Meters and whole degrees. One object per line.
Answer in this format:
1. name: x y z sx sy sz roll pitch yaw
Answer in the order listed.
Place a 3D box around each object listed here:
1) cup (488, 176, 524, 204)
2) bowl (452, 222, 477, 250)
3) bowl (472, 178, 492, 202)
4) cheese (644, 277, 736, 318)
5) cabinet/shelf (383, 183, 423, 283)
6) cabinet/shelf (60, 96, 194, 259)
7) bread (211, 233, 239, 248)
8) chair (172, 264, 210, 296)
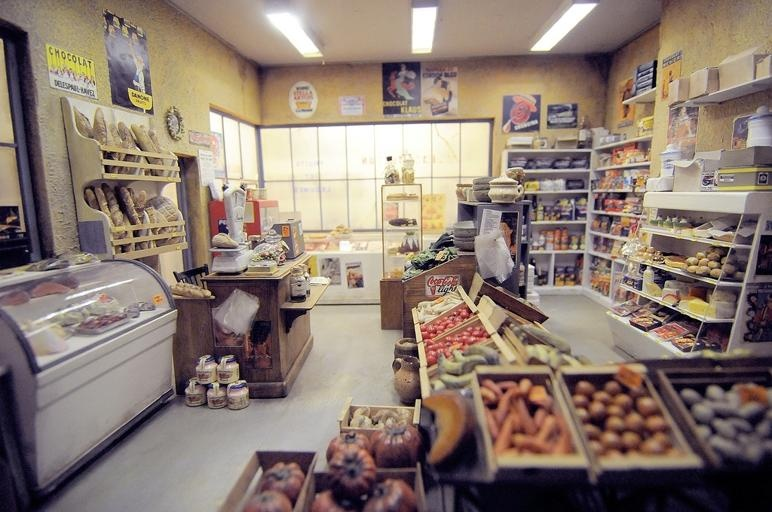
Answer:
1. cup: 1.349 -0.738 5.312 0.282 0.254 0.358 3 7 27
2. bowl: 0.942 -0.237 5.585 0.316 0.241 0.303 -2 13 1
3. bowl: 1.143 -0.784 5.601 0.270 0.200 0.272 0 2 0
4. cheese: 3.225 0.452 4.901 0.306 0.287 0.927 8 8 2
5. cabinet/shelf: 0.271 -0.462 7.379 0.664 1.332 1.634 -2 11 4
6. cabinet/shelf: -2.770 -0.790 5.116 0.543 1.592 1.124 3 8 13
7. bread: -1.597 -0.159 4.737 0.155 0.088 0.200 7 3 28
8. chair: -2.170 0.276 5.225 0.240 0.329 0.236 3 17 19
